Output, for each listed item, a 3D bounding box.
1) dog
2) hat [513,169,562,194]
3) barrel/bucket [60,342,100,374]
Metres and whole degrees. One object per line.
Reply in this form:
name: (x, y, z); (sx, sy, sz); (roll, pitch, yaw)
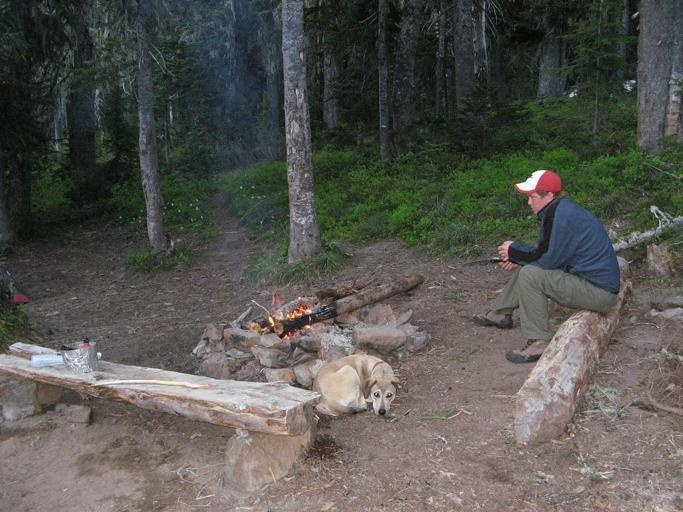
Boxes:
dog: (0.237, 2.022, 10.099); (0.919, 0.482, 0.922); (-4, 15, -22)
hat: (3.277, -1.225, 10.582); (0.601, 0.337, 0.414); (0, 12, 17)
barrel/bucket: (-4.092, 1.523, 10.023); (0.477, 0.417, 0.470); (0, 7, 0)
